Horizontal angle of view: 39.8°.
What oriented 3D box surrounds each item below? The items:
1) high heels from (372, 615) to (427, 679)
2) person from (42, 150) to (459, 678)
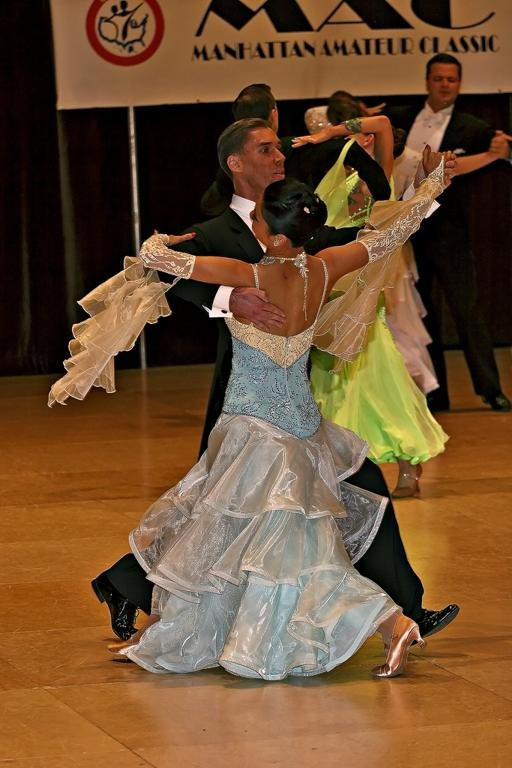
[{"bbox_3d":[0.337,0.624,1.688,0.087,0.163,0.126,-1,-5,-34],"label":"high heels"},{"bbox_3d":[-0.021,0.072,1.928,1.161,1.304,0.931,3,8,21],"label":"person"}]
